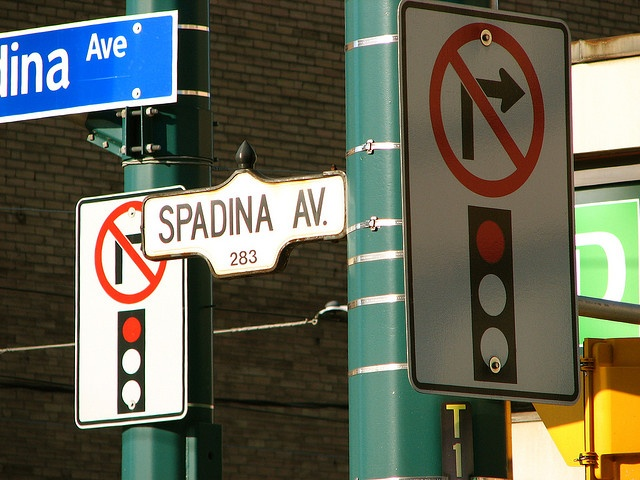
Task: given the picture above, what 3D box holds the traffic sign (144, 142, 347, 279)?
[{"bbox_3d":[-0.460,-0.165,10.717,1.118,0.796,0.154,-6,-15,20],"label":"traffic sign"}]
